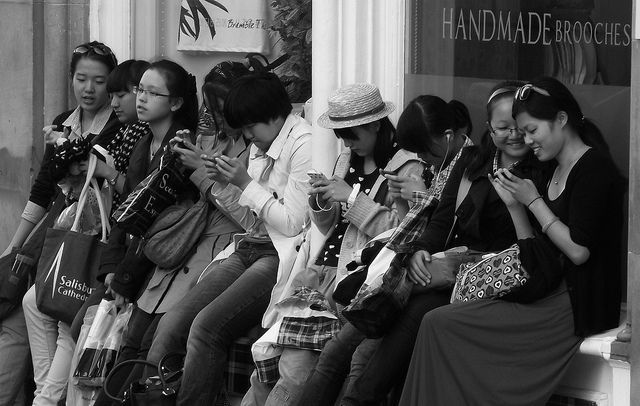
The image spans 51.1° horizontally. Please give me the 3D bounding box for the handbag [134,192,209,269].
[{"bbox_3d":[-1.117,0.202,5.182,0.385,0.576,0.200,32,-7,12],"label":"handbag"}]

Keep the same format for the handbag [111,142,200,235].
[{"bbox_3d":[-1.294,-0.065,5.326,0.283,0.729,0.569,28,-14,43],"label":"handbag"}]

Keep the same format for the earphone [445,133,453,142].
[{"bbox_3d":[0.905,-0.462,4.680,0.039,0.058,0.014,3,5,15],"label":"earphone"}]

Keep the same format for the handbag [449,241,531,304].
[{"bbox_3d":[1.014,0.434,4.030,0.411,0.317,0.128,-21,-36,24],"label":"handbag"}]

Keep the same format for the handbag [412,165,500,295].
[{"bbox_3d":[0.852,0.209,4.525,0.429,0.775,0.265,0,-19,25],"label":"handbag"}]

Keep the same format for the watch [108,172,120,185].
[{"bbox_3d":[-1.813,-0.212,5.920,0.069,0.104,0.101,31,29,-10],"label":"watch"}]

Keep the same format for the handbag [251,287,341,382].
[{"bbox_3d":[-0.151,0.861,4.579,0.601,0.247,0.610,-27,28,20],"label":"handbag"}]

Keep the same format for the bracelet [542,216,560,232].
[{"bbox_3d":[1.356,0.125,3.923,0.086,0.021,0.084,-41,-1,-22],"label":"bracelet"}]

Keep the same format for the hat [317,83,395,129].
[{"bbox_3d":[0.255,-0.693,4.820,0.389,0.142,0.382,-30,18,-30],"label":"hat"}]
